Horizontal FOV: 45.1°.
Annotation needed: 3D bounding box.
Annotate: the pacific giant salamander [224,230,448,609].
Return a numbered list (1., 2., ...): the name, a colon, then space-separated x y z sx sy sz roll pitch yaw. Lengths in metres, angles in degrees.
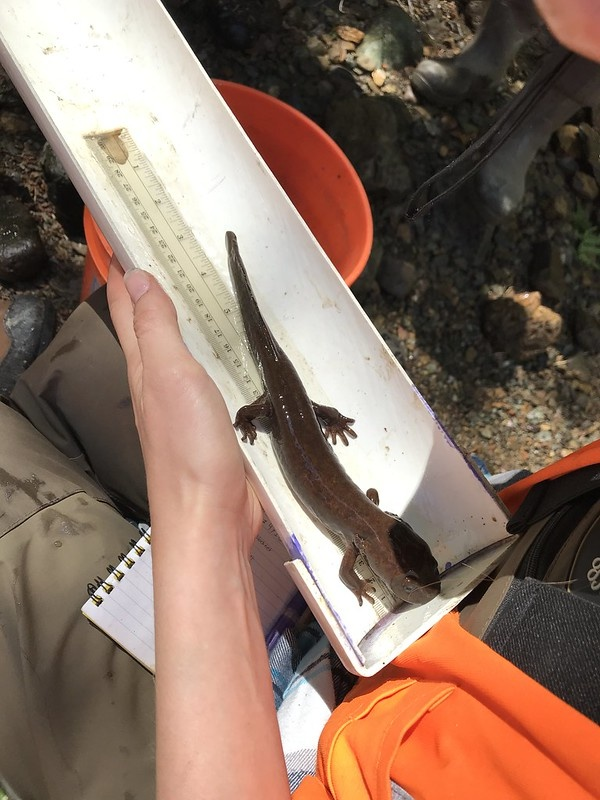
1. pacific giant salamander: 0.015 0.061 2.241 0.409 0.156 1.280 -25 75 -22

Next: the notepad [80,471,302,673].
1. notepad: -0.333 0.696 2.400 0.674 0.718 0.166 23 86 18

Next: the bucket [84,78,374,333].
1. bucket: -0.186 -0.832 2.849 1.219 0.862 1.012 -6 89 -15
